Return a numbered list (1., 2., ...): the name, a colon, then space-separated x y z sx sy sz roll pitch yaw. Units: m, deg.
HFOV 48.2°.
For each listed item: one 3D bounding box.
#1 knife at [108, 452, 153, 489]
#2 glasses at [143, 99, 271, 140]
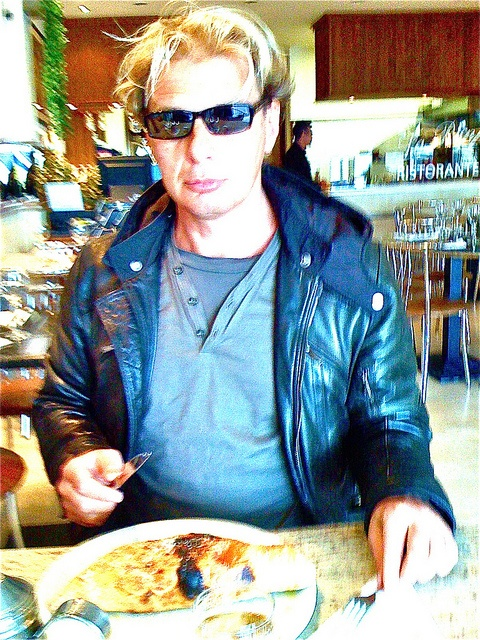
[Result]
1. knife: -0.163 0.223 0.769 0.117 0.029 0.010 -42 -36 26
2. glasses: -0.056 -0.346 0.915 0.204 0.084 0.064 1 9 -5
